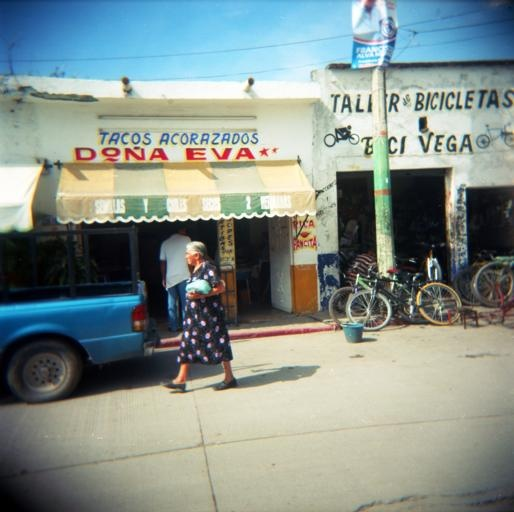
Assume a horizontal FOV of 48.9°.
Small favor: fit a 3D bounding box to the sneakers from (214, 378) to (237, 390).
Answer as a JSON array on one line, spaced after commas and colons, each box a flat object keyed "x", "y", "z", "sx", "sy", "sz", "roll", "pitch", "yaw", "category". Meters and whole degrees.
[{"x": -0.362, "y": 1.489, "z": 6.606, "sx": 0.224, "sy": 0.105, "sz": 0.107, "roll": 2, "pitch": -7, "yaw": -26, "category": "sneakers"}]

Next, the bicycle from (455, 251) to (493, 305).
[{"x": 4.325, "y": 0.498, "z": 11.492, "sx": 0.826, "sy": 1.000, "sz": 0.210, "roll": -8, "pitch": -9, "yaw": -1, "category": "bicycle"}]

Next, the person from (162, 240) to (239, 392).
[{"x": -0.645, "y": 0.698, "z": 6.566, "sx": 0.770, "sy": 1.719, "sz": 0.676, "roll": -2, "pitch": 4, "yaw": -5, "category": "person"}]

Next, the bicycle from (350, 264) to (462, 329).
[{"x": 2.473, "y": 0.796, "z": 10.121, "sx": 1.881, "sy": 1.171, "sz": 0.966, "roll": -1, "pitch": -16, "yaw": -9, "category": "bicycle"}]

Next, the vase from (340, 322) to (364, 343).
[{"x": 1.486, "y": 1.190, "z": 8.876, "sx": 0.273, "sy": 0.234, "sz": 0.288, "roll": 0, "pitch": -4, "yaw": -33, "category": "vase"}]

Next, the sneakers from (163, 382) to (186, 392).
[{"x": -0.962, "y": 1.489, "z": 6.588, "sx": 0.251, "sy": 0.116, "sz": 0.105, "roll": 11, "pitch": -6, "yaw": 3, "category": "sneakers"}]

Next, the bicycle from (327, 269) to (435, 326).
[{"x": 2.113, "y": 0.687, "z": 10.364, "sx": 1.632, "sy": 1.209, "sz": 0.855, "roll": -3, "pitch": -2, "yaw": -14, "category": "bicycle"}]
